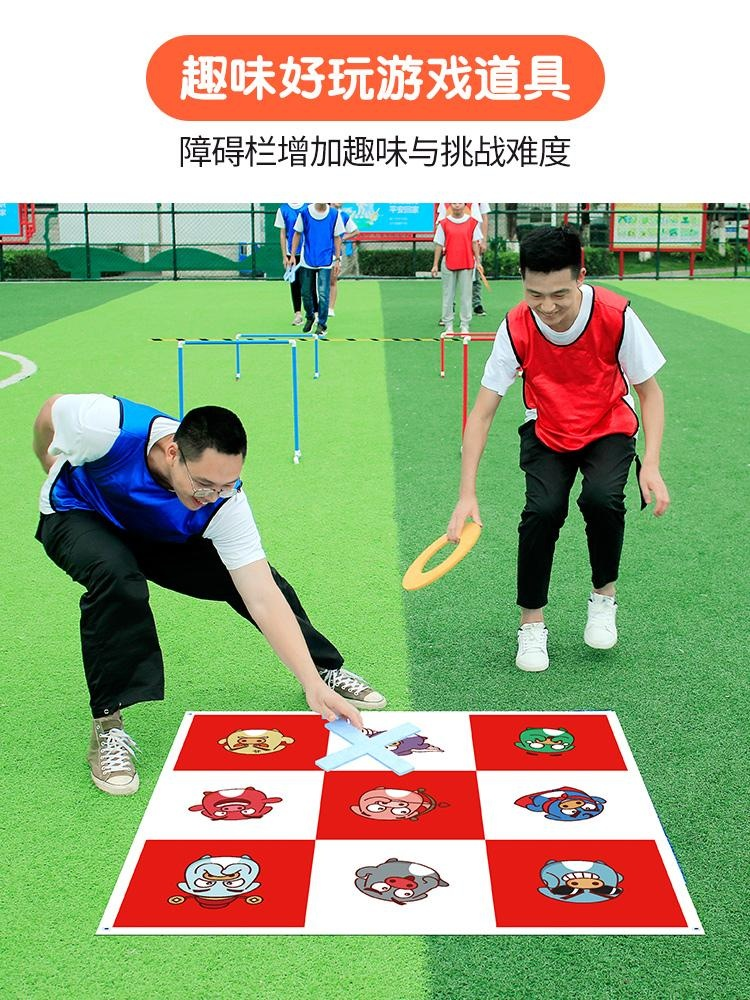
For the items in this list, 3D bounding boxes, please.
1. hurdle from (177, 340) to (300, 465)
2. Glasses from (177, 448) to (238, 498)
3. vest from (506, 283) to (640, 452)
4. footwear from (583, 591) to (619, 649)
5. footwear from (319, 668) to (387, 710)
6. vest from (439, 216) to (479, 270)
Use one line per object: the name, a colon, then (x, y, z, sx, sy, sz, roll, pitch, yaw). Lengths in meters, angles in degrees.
hurdle: (-1.164, -0.883, 6.956, 1.148, 0.940, 0.875, 1, 12, -7)
Glasses: (-0.424, -0.076, 2.032, 0.045, 0.140, 0.144, -41, -28, 27)
vest: (0.707, -0.446, 3.099, 0.440, 0.673, 0.406, 1, 23, 8)
footwear: (0.912, 0.495, 3.374, 0.105, 0.114, 0.289, 1, 15, 10)
footwear: (-0.079, 0.683, 3.083, 0.288, 0.113, 0.119, 18, 44, 36)
vest: (1.177, -3.550, 11.430, 0.808, 0.793, 0.320, -3, 36, 0)
